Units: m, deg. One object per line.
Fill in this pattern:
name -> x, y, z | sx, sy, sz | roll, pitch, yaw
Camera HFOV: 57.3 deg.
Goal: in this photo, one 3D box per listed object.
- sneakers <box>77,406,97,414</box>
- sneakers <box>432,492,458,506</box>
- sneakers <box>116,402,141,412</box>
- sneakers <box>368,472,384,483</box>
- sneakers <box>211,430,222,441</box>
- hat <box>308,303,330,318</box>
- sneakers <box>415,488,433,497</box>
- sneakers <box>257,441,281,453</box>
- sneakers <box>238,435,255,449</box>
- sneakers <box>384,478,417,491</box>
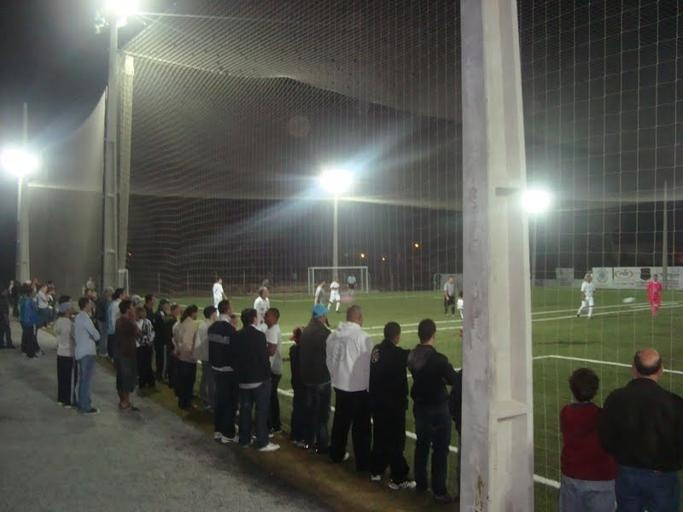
sneakers -> -4.867, 2.929, 11.983 | 0.307, 0.161, 0.123 | 4, -3, -24
sneakers -> 1.404, 3.298, 8.583 | 0.371, 0.185, 0.137 | -3, 1, 8
sneakers -> -4.158, 2.956, 12.281 | 0.484, 0.239, 0.182 | 4, -2, -12
sneakers -> 0.500, 3.220, 9.194 | 0.188, 0.118, 0.172 | -1, 1, 5
sneakers -> -2.120, 3.030, 10.630 | 0.126, 0.170, 0.143 | -1, -3, 6
hat -> -0.378, 0.927, 10.509 | 0.230, 0.208, 0.348 | 5, 19, 13
sneakers -> 1.134, 3.319, 8.825 | 0.120, 0.103, 0.191 | 1, -7, -1
sneakers -> -1.189, 3.117, 10.286 | 0.364, 0.196, 0.139 | -1, -3, -8
sneakers -> -1.579, 3.087, 10.474 | 0.219, 0.241, 0.160 | -2, -6, 32
sneakers -> 0.850, 3.254, 8.990 | 0.358, 0.190, 0.147 | -5, -6, 8
